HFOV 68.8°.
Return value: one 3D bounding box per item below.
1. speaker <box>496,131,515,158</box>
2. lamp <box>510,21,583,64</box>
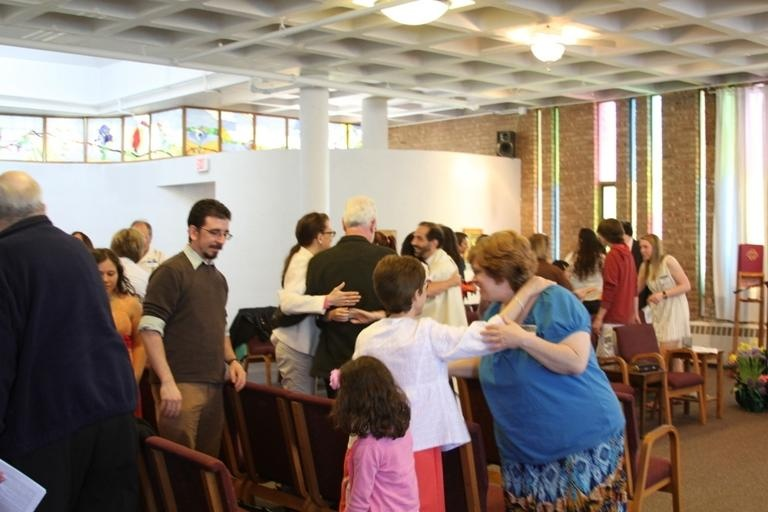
[{"bbox_3d":[2.957,-2.700,13.590,0.450,0.663,0.435,-1,5,12],"label":"speaker"},{"bbox_3d":[2.384,-3.146,8.309,1.095,0.511,0.621,0,5,25],"label":"lamp"}]
